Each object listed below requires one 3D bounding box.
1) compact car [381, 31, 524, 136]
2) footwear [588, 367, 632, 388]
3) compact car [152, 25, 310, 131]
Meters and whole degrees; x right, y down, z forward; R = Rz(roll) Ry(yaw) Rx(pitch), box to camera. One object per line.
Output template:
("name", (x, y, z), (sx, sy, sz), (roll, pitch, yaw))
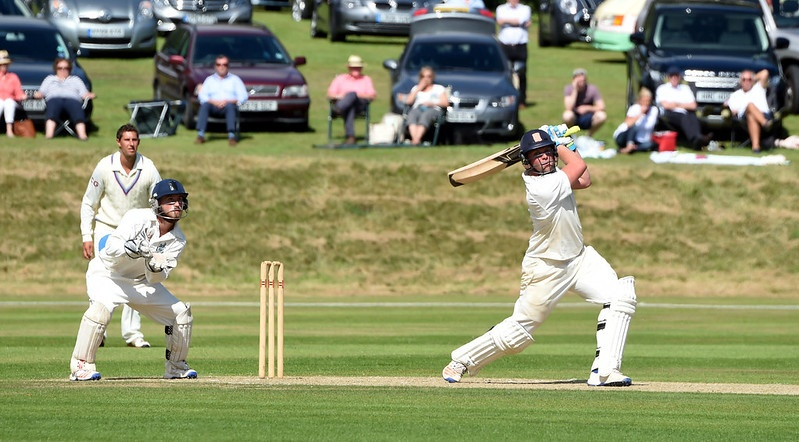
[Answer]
("compact car", (1.402, -3.249, 40.120), (3.074, 2.553, 1.845), (2, 10, 3))
("footwear", (3.930, 2.959, 30.797), (0.839, 0.365, 0.307), (-1, 0, 9))
("compact car", (-4.113, -3.551, 40.573), (3.970, 2.501, 2.256), (3, 10, 8))
